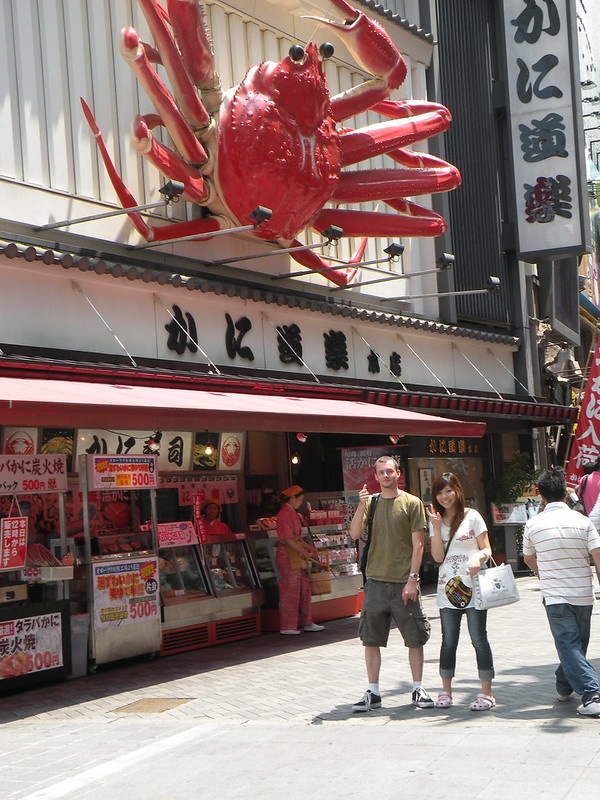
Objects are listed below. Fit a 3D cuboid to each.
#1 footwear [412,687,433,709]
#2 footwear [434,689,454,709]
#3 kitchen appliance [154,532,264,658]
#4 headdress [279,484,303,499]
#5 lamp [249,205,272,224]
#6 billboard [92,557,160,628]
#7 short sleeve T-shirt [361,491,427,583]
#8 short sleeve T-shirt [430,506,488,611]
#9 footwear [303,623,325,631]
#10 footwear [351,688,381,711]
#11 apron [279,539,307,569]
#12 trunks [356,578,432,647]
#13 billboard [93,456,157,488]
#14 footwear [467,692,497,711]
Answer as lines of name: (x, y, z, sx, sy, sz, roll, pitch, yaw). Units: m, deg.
footwear: (0.800, 1.973, 4.680, 0.080, 0.080, 0.195, 1, -11, -12)
footwear: (0.951, 1.983, 4.675, 0.144, 0.157, 0.371, -2, -17, 11)
kitchen appliance: (-1.254, 2.348, 8.753, 1.482, 1.256, 0.589, 5, -12, -43)
headdress: (-0.142, 1.256, 9.503, 0.209, 0.105, 0.296, -30, 8, -37)
lamp: (-0.486, -2.251, 8.559, 0.230, 0.276, 0.373, -5, -3, -4)
billboard: (-1.750, 1.982, 7.262, 0.966, 0.652, 0.095, -18, -22, 30)
short sleeve T-shirt: (0.617, 0.928, 4.778, 0.444, 0.573, 0.197, -4, -8, 22)
short sleeve T-shirt: (1.012, 1.030, 4.612, 0.354, 0.675, 0.211, -4, 14, 9)
footwear: (0.174, 2.965, 9.199, 0.247, 0.160, 0.104, -5, -1, 5)
footwear: (0.456, 2.025, 4.783, 0.090, 0.115, 0.267, -5, -10, 39)
apron: (-0.108, 1.992, 9.105, 0.349, 0.338, 0.093, 9, -22, -33)
trunks: (0.619, 1.430, 4.727, 0.448, 0.453, 0.281, -6, -3, 9)
billboard: (-1.807, 0.728, 7.215, 0.044, 0.356, 0.842, -8, -4, 37)
footwear: (1.158, 1.903, 4.489, 0.094, 0.073, 0.191, -5, -13, 23)
